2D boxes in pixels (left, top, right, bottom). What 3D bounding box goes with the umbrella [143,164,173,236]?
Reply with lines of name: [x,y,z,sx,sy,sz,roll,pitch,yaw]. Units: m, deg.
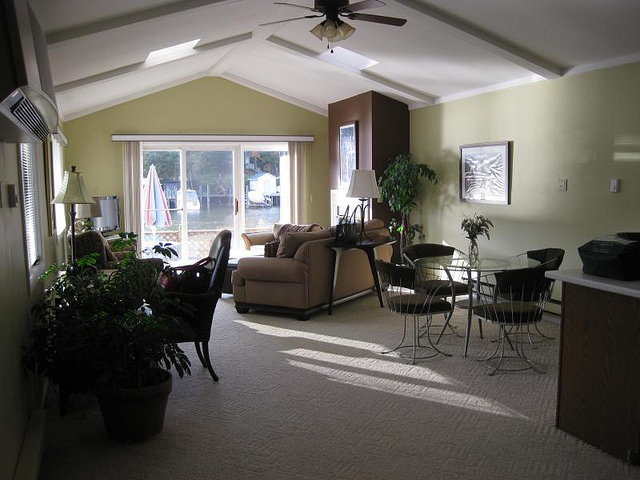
umbrella: [-3.291,-0.850,8.978,0.569,1.442,0.604,23,28,34]

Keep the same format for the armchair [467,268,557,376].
armchair: [1.873,0.764,4.284,0.741,0.973,0.677,2,-1,-12]

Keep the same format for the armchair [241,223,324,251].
armchair: [-0.779,-0.091,7.703,0.947,0.634,0.560,0,1,39]

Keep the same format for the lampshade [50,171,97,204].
lampshade: [-2.633,-0.534,4.875,0.343,0.374,0.352,1,3,34]

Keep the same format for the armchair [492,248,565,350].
armchair: [2.179,0.689,4.837,0.698,1.115,0.831,5,18,33]

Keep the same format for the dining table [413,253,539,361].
dining table: [1.817,0.833,5.169,1.160,0.970,1.241,-3,9,-17]

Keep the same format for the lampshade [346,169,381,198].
lampshade: [0.616,-0.752,6.180,0.388,0.428,0.369,0,3,-5]

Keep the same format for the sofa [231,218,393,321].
sofa: [-0.049,0.175,7.512,2.649,1.184,3.947,3,9,23]

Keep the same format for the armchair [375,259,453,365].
armchair: [0.987,0.727,4.666,0.723,0.962,0.727,-1,0,32]

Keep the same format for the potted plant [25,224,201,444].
potted plant: [-1.430,0.792,3.288,0.986,1.226,0.554,-1,9,1]
